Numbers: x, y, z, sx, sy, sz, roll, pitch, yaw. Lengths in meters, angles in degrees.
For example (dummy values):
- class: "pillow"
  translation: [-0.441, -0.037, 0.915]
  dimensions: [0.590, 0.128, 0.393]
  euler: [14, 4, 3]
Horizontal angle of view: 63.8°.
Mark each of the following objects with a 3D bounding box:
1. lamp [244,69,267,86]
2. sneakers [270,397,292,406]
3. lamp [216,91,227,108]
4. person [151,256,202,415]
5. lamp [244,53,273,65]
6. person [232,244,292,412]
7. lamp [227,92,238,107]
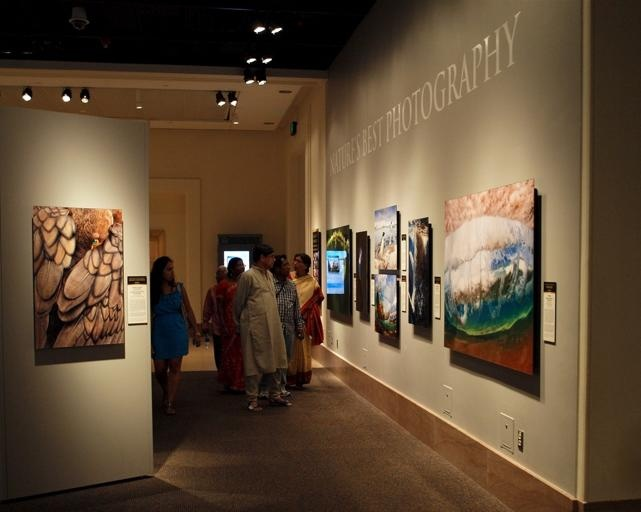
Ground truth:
- class: "lamp"
  translation: [-1.125, -3.050, 8.778]
  dimensions: [0.292, 0.139, 0.278]
  euler: [-1, 5, 2]
- class: "sneakers"
  translation: [-0.511, 1.847, 6.591]
  dimensions: [0.297, 0.155, 0.112]
  euler: [-1, 4, 0]
- class: "lamp"
  translation: [-1.981, -3.121, 10.237]
  dimensions: [0.136, 0.196, 0.366]
  euler: [1, -20, 4]
- class: "person"
  translation: [-1.764, 0.949, 6.208]
  dimensions: [0.506, 1.866, 0.985]
  euler: [0, -2, -15]
- class: "lamp"
  translation: [-1.025, -3.241, 8.523]
  dimensions: [0.266, 0.083, 0.222]
  euler: [-2, -4, -1]
- class: "person"
  translation: [-0.695, 0.869, 6.356]
  dimensions: [0.476, 2.024, 0.710]
  euler: [-1, -2, 29]
- class: "lamp"
  translation: [-1.761, -3.118, 10.298]
  dimensions: [0.174, 0.245, 0.200]
  euler: [-1, -8, -6]
